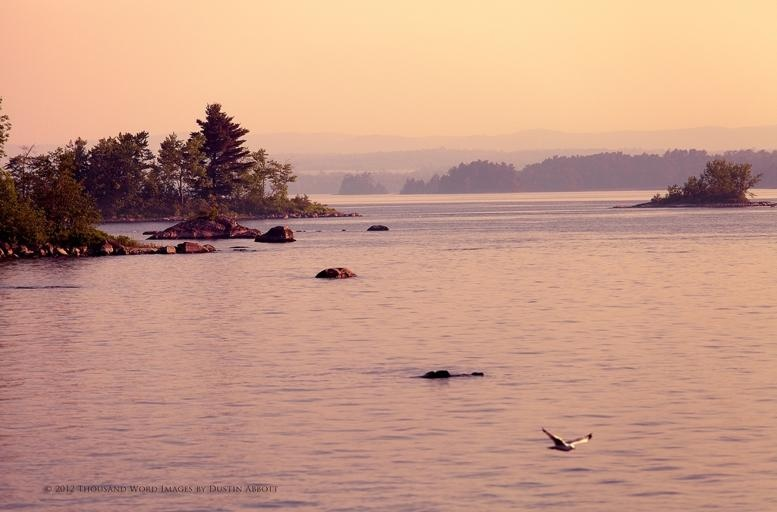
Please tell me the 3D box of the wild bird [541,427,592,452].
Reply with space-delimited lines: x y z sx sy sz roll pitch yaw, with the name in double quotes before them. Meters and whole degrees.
"wild bird" 6.044 6.170 49.570 1.626 0.773 1.593 0 7 6
